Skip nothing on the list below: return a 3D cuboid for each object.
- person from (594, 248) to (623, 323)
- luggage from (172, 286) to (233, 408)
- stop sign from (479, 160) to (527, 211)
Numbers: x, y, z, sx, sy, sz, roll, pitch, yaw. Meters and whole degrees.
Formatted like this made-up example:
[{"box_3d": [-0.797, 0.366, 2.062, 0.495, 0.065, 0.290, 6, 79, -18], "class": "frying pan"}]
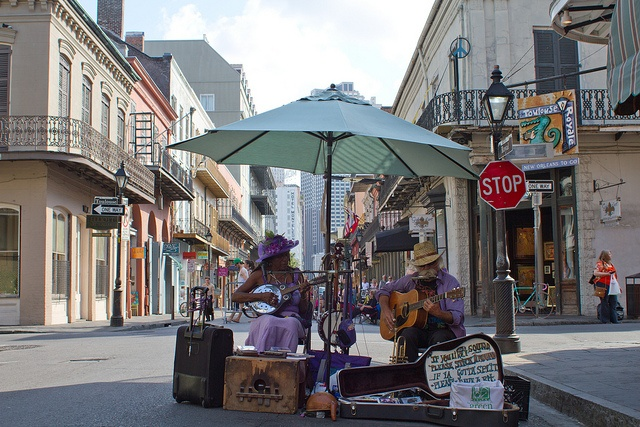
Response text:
[{"box_3d": [8.911, 2.318, 29.103, 0.752, 2.150, 0.933, 0, -6, -5], "class": "person"}, {"box_3d": [-2.460, 2.856, 19.524, 1.271, 2.402, 0.433, -5, -9, 24], "class": "luggage"}, {"box_3d": [4.624, -0.731, 23.768, 1.152, 1.222, 0.380, -3, -8, 10], "class": "stop sign"}]
